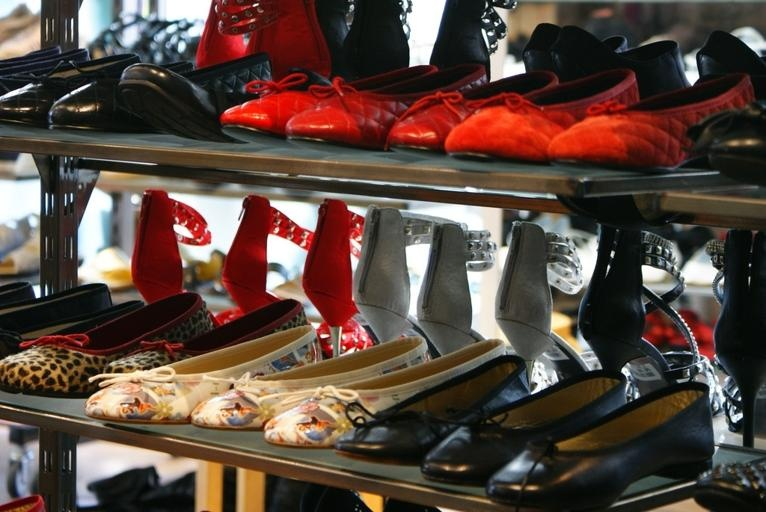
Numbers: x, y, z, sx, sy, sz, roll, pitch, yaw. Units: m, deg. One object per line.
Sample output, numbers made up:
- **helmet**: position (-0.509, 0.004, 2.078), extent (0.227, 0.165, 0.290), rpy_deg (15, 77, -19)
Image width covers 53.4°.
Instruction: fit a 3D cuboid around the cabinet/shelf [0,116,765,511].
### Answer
- **cabinet/shelf**: position (-0.009, 0.100, 1.280), extent (1.019, 0.481, 0.253), rpy_deg (7, 17, 32)
